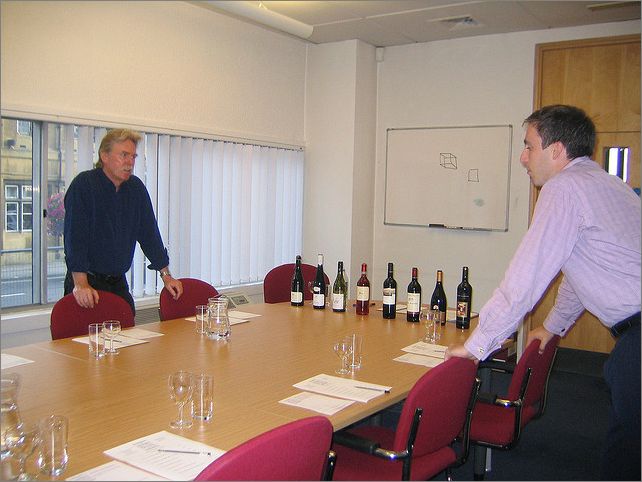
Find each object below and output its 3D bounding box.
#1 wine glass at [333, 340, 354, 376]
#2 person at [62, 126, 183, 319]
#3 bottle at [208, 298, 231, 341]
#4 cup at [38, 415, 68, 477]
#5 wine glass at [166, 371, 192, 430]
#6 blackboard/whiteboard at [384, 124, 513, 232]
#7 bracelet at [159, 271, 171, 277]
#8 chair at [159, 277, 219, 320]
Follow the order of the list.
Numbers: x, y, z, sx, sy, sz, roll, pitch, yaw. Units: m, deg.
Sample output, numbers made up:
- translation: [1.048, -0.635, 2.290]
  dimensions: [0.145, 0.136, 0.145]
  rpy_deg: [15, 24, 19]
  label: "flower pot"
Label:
- translation: [0.120, 0.592, 2.525]
  dimensions: [0.129, 0.229, 0.135]
  rpy_deg: [-1, -6, 3]
  label: "wine glass"
- translation: [-1.471, -0.146, 3.666]
  dimensions: [0.761, 1.312, 0.425]
  rpy_deg: [-3, 8, -38]
  label: "person"
- translation: [-0.583, 0.477, 3.004]
  dimensions: [0.214, 0.233, 0.145]
  rpy_deg: [1, -5, -16]
  label: "bottle"
- translation: [-0.859, 0.651, 1.594]
  dimensions: [0.078, 0.165, 0.084]
  rpy_deg: [2, 6, 0]
  label: "cup"
- translation: [-0.548, 0.594, 1.956]
  dimensions: [0.086, 0.180, 0.232]
  rpy_deg: [0, 7, -16]
  label: "wine glass"
- translation: [1.489, -0.745, 5.910]
  dimensions: [1.436, 1.177, 0.063]
  rpy_deg: [3, 0, 22]
  label: "blackboard/whiteboard"
- translation: [-1.211, 0.252, 3.857]
  dimensions: [0.055, 0.040, 0.059]
  rpy_deg: [-10, 0, 16]
  label: "bracelet"
- translation: [-0.987, 0.382, 3.781]
  dimensions: [0.335, 0.502, 0.319]
  rpy_deg: [0, -4, -31]
  label: "chair"
